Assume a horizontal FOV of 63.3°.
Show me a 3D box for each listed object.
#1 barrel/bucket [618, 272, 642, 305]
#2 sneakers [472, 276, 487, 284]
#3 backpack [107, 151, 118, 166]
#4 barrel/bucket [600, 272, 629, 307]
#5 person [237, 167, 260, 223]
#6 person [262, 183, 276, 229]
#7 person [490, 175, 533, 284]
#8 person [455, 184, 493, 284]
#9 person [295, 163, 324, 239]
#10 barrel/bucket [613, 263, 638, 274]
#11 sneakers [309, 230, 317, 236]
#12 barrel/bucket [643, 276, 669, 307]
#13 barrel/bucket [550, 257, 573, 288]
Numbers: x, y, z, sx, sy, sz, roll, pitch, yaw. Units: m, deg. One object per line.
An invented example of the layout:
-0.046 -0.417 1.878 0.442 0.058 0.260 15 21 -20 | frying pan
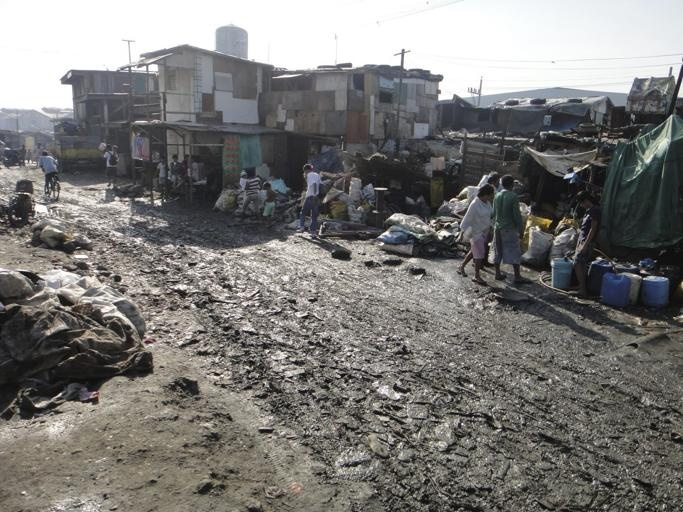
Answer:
5.151 0.588 9.918 0.304 0.527 0.293 3 12 -1 | barrel/bucket
2.742 0.493 10.968 0.115 0.086 0.215 -3 5 -36 | sneakers
-9.674 -4.126 23.372 0.576 0.543 0.213 9 17 -31 | backpack
4.883 0.612 9.888 0.229 0.664 0.534 -8 11 -42 | barrel/bucket
-2.932 -1.929 17.573 0.654 1.398 0.987 0 13 -12 | person
-2.237 -1.663 17.096 0.401 1.246 1.192 1 12 -8 | person
3.270 -0.506 10.786 0.717 2.064 0.410 7 13 16 | person
2.635 -0.458 10.944 0.593 1.928 0.588 6 13 12 | person
-0.869 -1.541 15.269 0.549 1.896 1.196 1 13 -8 | person
5.215 0.228 10.160 0.252 0.148 0.254 0 6 0 | barrel/bucket
-0.765 -0.604 15.154 0.151 0.142 0.263 0 3 2 | sneakers
5.501 0.628 9.731 0.535 0.567 0.454 0 2 42 | barrel/bucket
4.140 0.343 10.779 0.518 0.548 0.507 -1 5 0 | barrel/bucket
